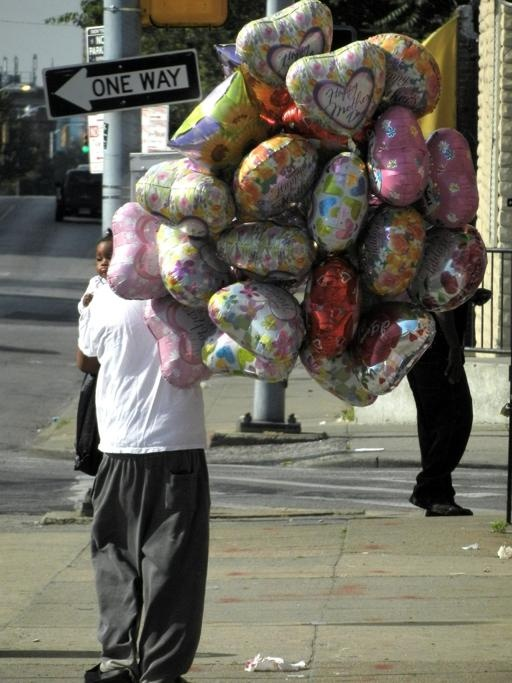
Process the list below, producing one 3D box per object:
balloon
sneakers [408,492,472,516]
[{"bbox_3d":[0.251,-0.504,4.187,1.680,1.362,0.518,19,11,3],"label":"balloon"},{"bbox_3d":[1.168,1.053,6.940,0.472,0.148,0.139,1,5,9],"label":"sneakers"}]
